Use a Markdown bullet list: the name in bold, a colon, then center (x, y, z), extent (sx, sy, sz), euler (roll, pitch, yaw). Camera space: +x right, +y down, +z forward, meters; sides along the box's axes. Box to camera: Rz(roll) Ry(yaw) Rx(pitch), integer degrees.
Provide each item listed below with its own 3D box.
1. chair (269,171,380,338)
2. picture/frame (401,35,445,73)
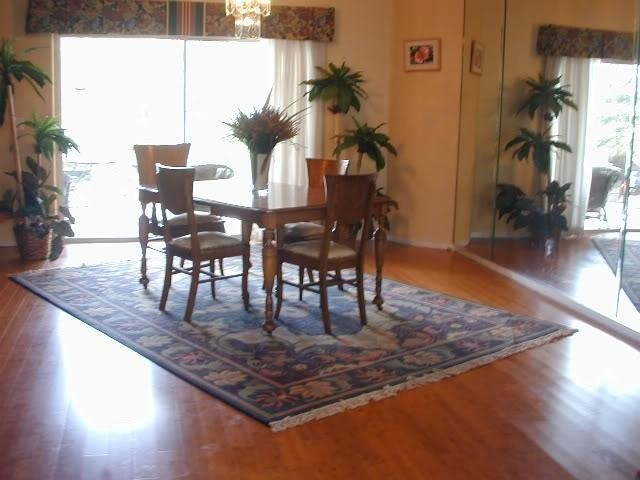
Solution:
- **chair**: center (0.150, -0.091, 4.339), extent (0.647, 1.103, 0.754), euler (5, 22, -19)
- **picture/frame**: center (1.234, -2.188, 5.877), extent (0.487, 0.365, 0.035), euler (11, 16, 40)
